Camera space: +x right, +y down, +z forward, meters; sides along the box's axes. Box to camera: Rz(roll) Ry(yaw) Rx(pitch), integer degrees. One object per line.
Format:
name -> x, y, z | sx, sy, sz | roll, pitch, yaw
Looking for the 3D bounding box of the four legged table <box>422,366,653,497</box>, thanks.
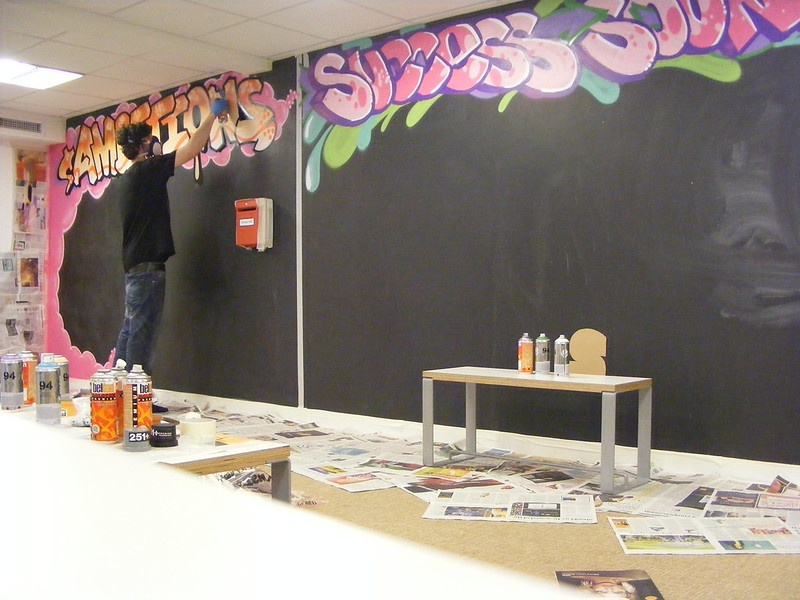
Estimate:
four legged table -> 0.743, 0.698, 4.035 | 1.169, 0.552, 0.537 | -1, 0, 38
